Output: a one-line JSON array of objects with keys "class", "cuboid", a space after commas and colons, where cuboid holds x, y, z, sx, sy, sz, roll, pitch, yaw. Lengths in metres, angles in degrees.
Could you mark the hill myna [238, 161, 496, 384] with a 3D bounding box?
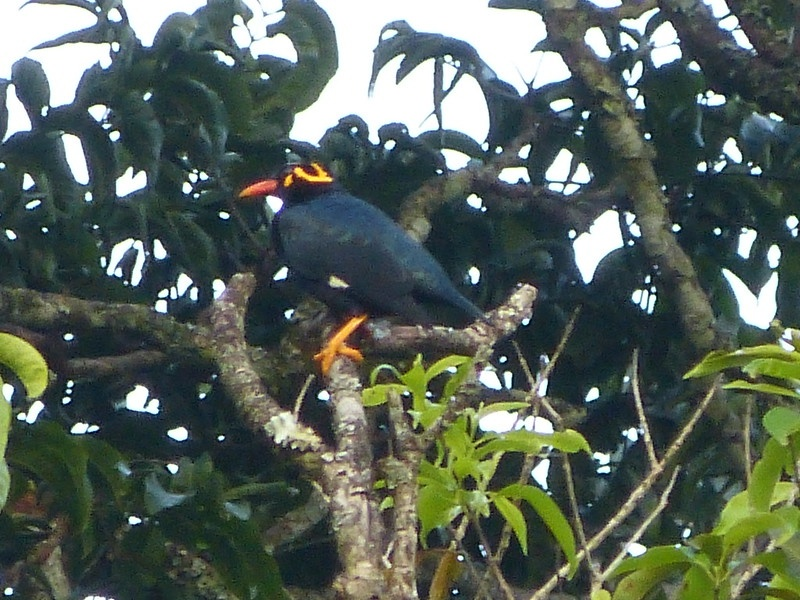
[{"class": "hill myna", "cuboid": [-0.155, -0.148, 7.485, 0.771, 0.699, 0.379, 1, 8, -1]}]
